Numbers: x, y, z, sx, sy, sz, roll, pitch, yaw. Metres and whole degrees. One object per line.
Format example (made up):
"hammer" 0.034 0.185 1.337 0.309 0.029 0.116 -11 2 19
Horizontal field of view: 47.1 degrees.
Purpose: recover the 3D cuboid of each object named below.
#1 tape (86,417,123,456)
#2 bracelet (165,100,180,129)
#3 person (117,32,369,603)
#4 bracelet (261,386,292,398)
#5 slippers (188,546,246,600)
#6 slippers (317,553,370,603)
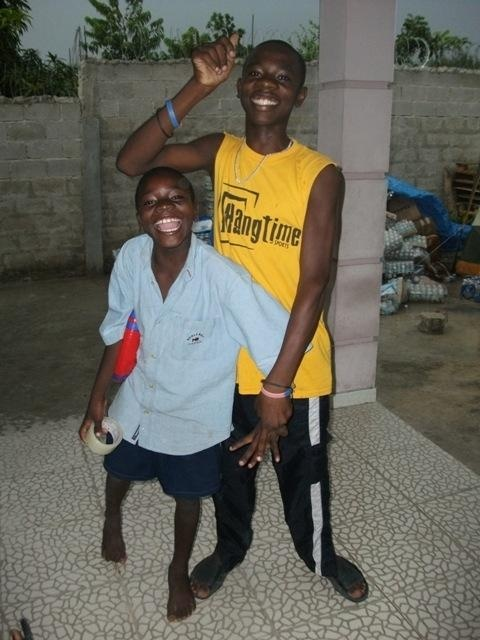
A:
"tape" -0.447 0.378 1.811 0.113 0.085 0.103 41 44 -5
"bracelet" -0.202 -0.618 1.647 0.022 0.070 0.073 -17 49 4
"person" 0.101 0.077 1.863 0.649 1.841 0.693 -12 19 -36
"bracelet" 0.108 0.186 1.482 0.046 0.013 0.042 6 13 24
"slippers" -0.088 0.912 2.060 0.103 0.099 0.285 13 10 29
"slippers" 0.386 0.922 2.020 0.114 0.053 0.244 -28 14 -11
